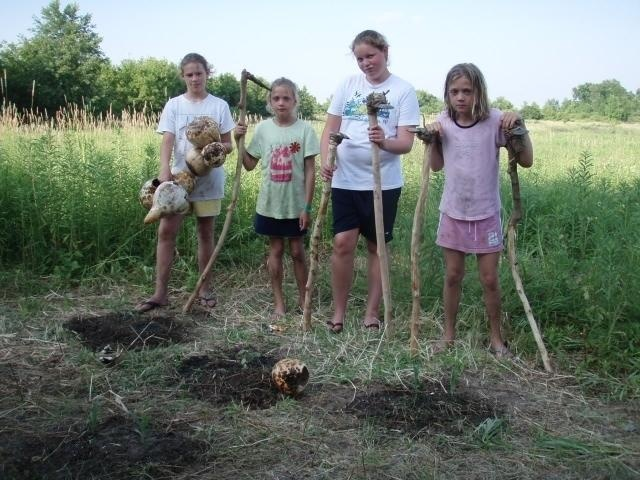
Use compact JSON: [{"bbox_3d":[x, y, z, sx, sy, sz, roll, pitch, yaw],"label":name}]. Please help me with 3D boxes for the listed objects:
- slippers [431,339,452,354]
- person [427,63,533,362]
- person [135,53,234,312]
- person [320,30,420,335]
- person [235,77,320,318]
[{"bbox_3d":[1.079,0.949,4.781,0.163,0.106,0.046,-9,0,-4],"label":"slippers"},{"bbox_3d":[1.306,-0.236,4.595,0.815,2.466,0.336,3,6,17],"label":"person"},{"bbox_3d":[-1.362,-0.582,5.575,0.908,2.628,0.611,1,6,-12],"label":"person"},{"bbox_3d":[0.439,-0.508,5.044,0.880,2.827,0.728,1,6,-7],"label":"person"},{"bbox_3d":[-0.396,-0.418,5.420,0.727,2.373,0.359,1,6,-3],"label":"person"}]
